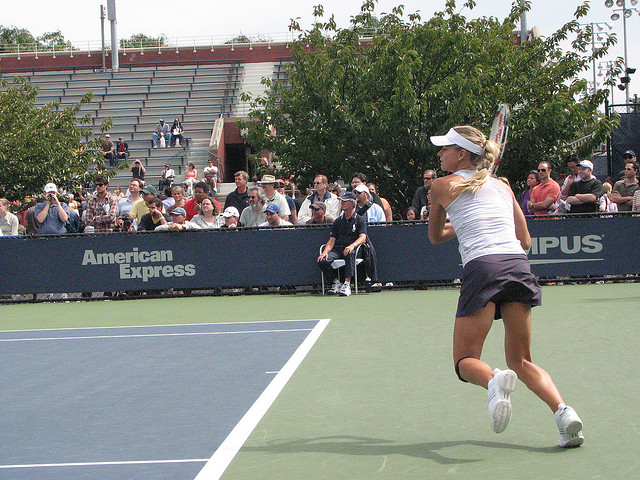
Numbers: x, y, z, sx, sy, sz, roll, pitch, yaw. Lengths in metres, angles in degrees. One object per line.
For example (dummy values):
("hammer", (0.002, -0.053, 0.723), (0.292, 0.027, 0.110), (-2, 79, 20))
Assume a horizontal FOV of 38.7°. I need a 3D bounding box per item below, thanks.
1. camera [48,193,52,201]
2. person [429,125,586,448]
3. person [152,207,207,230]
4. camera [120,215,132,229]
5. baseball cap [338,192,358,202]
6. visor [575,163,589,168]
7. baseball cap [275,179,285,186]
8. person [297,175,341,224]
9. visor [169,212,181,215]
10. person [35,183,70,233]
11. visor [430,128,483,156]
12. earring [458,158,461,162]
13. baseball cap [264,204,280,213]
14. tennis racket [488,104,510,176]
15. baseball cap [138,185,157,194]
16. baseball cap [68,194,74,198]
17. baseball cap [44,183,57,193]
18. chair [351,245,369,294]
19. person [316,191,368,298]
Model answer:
("camera", (-5.131, -0.840, 17.316), (0.068, 0.162, 0.202), (-6, 9, -19))
("person", (1.654, 0.426, 8.530), (1.047, 2.990, 1.110), (-5, 9, -16))
("person", (-2.671, -0.417, 17.282), (0.923, 0.377, 0.728), (-3, 9, -6))
("camera", (-3.660, -0.368, 17.214), (0.191, 0.220, 0.117), (-5, 9, -13))
("baseball cap", (0.535, -0.786, 16.090), (0.229, 0.110, 0.158), (4, -7, -6))
("visor", (4.710, -1.366, 16.333), (0.123, 0.083, 0.303), (-7, 10, -28))
("baseball cap", (-0.833, -1.285, 19.336), (0.194, 0.053, 0.176), (26, 0, -44))
("person", (-0.016, -0.736, 17.644), (0.818, 1.121, 0.749), (2, -15, -4))
("visor", (-2.791, -0.526, 17.406), (0.120, 0.065, 0.334), (-7, 10, -29))
("person", (-5.227, -0.502, 17.735), (0.611, 1.178, 0.623), (-4, -11, -9))
("visor", (1.317, -0.930, 8.615), (0.401, 0.133, 0.251), (20, -1, 5))
("earring", (1.325, -0.769, 8.572), (0.021, 0.037, 0.024), (1, -5, 24))
("baseball cap", (-0.872, -0.594, 16.964), (0.254, 0.170, 0.297), (-3, 9, -2))
("tennis racket", (1.803, -1.026, 9.187), (0.051, 0.735, 0.176), (3, 4, -41))
("baseball cap", (-3.296, -1.005, 17.655), (0.194, 0.173, 0.324), (0, -7, 33))
("baseball cap", (-6.403, -1.177, 23.420), (0.149, 0.076, 0.204), (0, 3, -5))
("baseball cap", (-5.104, -1.009, 17.268), (0.198, 0.161, 0.287), (1, 0, -19))
("chair", (0.751, 0.435, 16.381), (0.435, 0.776, 0.390), (0, 3, -1))
("person", (0.414, 0.068, 16.299), (0.865, 1.862, 0.715), (-1, 8, 10))
